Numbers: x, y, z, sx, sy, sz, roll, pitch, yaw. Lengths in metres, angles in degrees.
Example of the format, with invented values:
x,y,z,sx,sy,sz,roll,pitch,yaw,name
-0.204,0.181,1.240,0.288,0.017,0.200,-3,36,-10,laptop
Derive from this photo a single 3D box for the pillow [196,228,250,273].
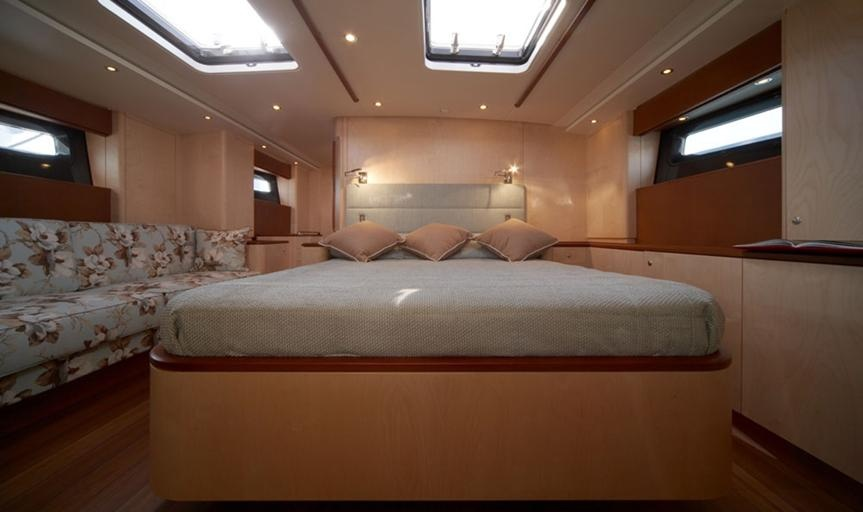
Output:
x,y,z,sx,sy,sz,roll,pitch,yaw,name
-2.423,-0.057,5.979,0.516,0.448,0.187,2,-27,-19,pillow
